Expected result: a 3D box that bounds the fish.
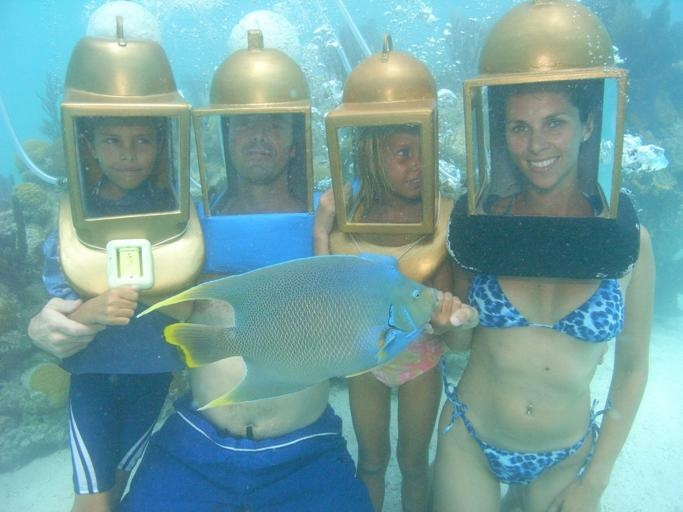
[{"bbox_3d":[-0.115,0.156,2.307,0.887,0.437,0.402,-13,13,0],"label":"fish"}]
